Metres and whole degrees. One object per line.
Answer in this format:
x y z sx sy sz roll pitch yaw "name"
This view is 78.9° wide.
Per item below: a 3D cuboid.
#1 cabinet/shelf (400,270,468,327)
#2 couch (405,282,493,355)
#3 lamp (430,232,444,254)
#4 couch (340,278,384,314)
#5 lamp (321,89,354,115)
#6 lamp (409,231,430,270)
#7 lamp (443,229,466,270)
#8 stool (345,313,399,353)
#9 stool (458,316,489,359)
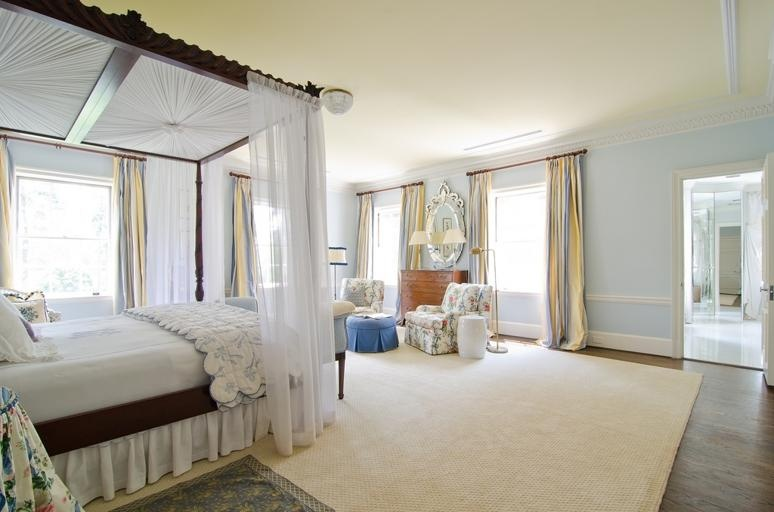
0.844 0.762 9.027 1.190 1.019 0.457 2 4 37 "cabinet/shelf"
0.883 0.973 7.527 1.159 1.086 1.125 6 -9 -24 "couch"
0.971 -0.283 9.020 0.332 0.473 0.333 -1 0 7 "lamp"
-0.508 0.787 8.344 0.758 0.768 0.631 4 5 2 "couch"
-0.644 -1.979 6.070 0.405 0.272 0.439 -1 4 -4 "lamp"
0.624 -0.112 8.909 0.417 0.712 0.405 -3 -9 30 "lamp"
1.235 -0.131 8.574 0.369 0.729 0.741 0 4 9 "lamp"
-0.225 1.177 7.581 0.953 0.517 0.941 -3 5 -15 "stool"
1.236 1.170 6.913 0.538 0.587 0.525 1 -1 -27 "stool"
